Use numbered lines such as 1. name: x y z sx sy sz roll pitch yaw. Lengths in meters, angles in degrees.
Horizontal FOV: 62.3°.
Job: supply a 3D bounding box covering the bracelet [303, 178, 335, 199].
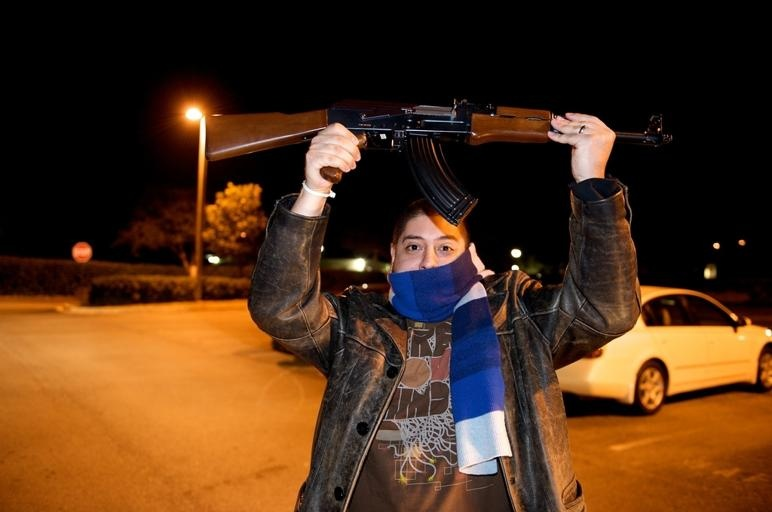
1. bracelet: -0.465 -0.459 4.401 0.235 0.154 0.156 0 1 -8
